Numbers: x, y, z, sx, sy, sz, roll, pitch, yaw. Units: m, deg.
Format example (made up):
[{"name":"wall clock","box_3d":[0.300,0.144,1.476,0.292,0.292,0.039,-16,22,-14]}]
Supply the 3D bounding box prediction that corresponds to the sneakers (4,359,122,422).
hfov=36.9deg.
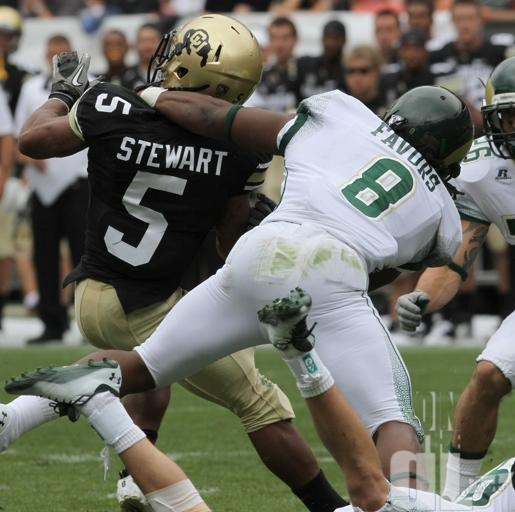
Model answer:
[{"name":"sneakers","box_3d":[-0.495,0.354,2.051,0.411,0.162,0.123,-2,0,-8]}]
